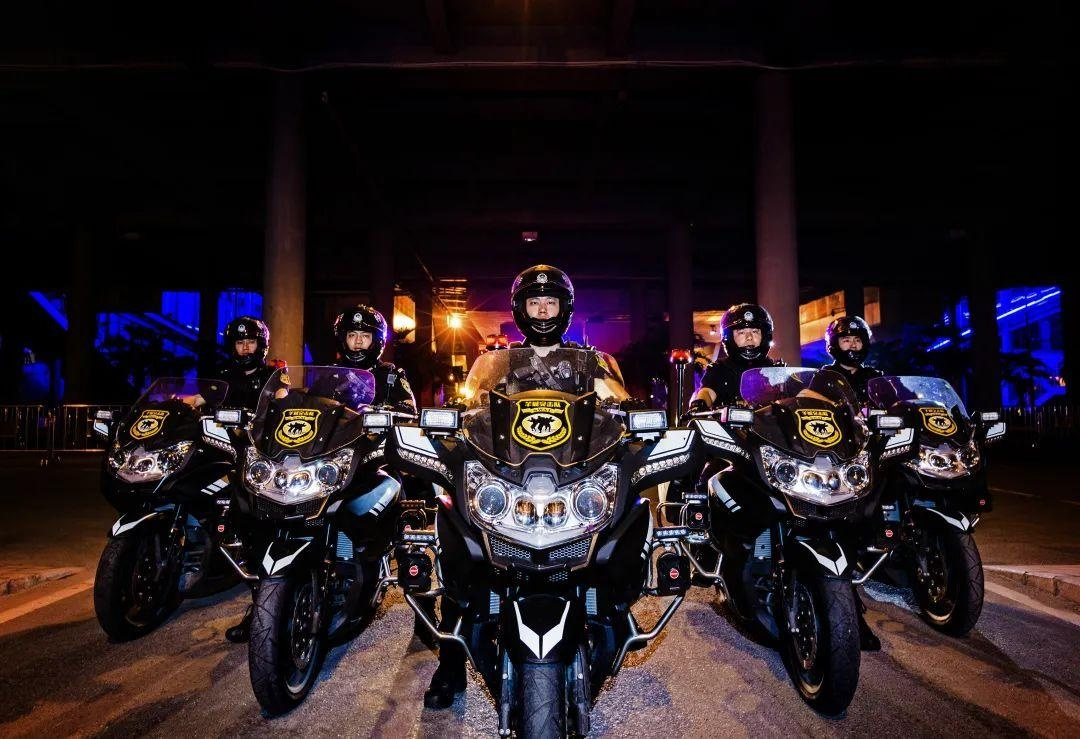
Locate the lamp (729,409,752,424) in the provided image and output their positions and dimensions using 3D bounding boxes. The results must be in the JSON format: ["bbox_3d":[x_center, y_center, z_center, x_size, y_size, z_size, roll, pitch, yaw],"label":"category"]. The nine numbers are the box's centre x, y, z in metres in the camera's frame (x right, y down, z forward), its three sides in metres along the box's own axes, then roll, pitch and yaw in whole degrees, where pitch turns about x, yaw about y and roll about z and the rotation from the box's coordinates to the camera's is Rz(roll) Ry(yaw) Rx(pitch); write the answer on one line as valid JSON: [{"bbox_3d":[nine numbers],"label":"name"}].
[{"bbox_3d":[2.501,0.593,10.491,0.295,0.201,0.163,2,1,5],"label":"lamp"}]

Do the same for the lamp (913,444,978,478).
[{"bbox_3d":[5.520,1.278,11.329,0.487,0.310,0.693,-1,-1,5],"label":"lamp"}]

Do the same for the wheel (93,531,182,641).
[{"bbox_3d":[-5.448,2.926,11.386,0.235,1.065,1.184,6,-27,19],"label":"wheel"}]

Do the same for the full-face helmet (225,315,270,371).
[{"bbox_3d":[-4.588,-0.498,13.593,0.627,0.751,0.779,-1,20,9],"label":"full-face helmet"}]

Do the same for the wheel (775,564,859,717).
[{"bbox_3d":[3.491,3.384,10.464,0.379,1.764,0.917,-3,2,-41],"label":"wheel"}]

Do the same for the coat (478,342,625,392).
[{"bbox_3d":[0.019,0.004,10.647,1.899,0.559,0.404,-2,1,-7],"label":"coat"}]

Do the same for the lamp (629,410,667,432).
[{"bbox_3d":[1.265,0.609,9.820,0.419,0.269,0.238,0,1,5],"label":"lamp"}]

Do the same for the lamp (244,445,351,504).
[{"bbox_3d":[-3.009,1.389,10.724,0.838,0.423,0.866,2,33,-6],"label":"lamp"}]

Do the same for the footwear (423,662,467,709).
[{"bbox_3d":[-1.213,3.990,10.578,0.417,0.542,0.216,15,-35,19],"label":"footwear"}]

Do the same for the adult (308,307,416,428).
[{"bbox_3d":[-2.741,-0.004,12.902,1.607,1.707,1.145,-5,-25,10],"label":"adult"}]
